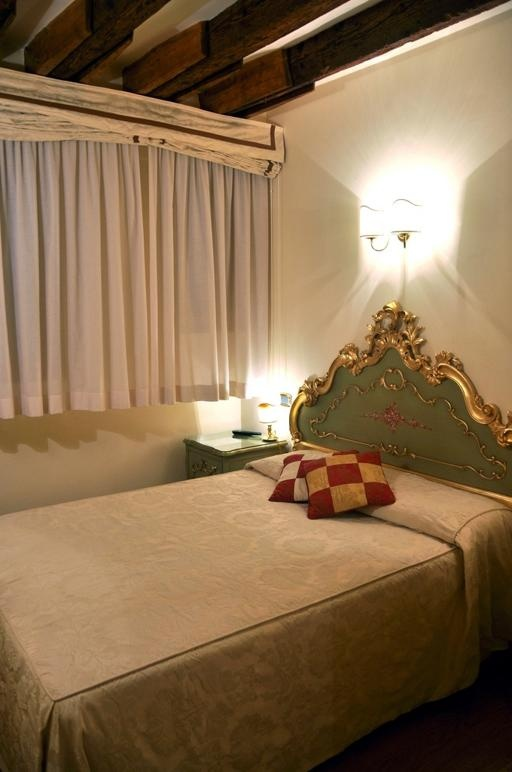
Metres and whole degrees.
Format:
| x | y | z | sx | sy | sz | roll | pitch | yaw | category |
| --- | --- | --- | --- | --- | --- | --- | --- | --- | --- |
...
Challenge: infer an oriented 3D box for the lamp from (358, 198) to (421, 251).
| x | y | z | sx | sy | sz | roll | pitch | yaw | category |
| --- | --- | --- | --- | --- | --- | --- | --- | --- | --- |
| 0.630 | -0.739 | 2.695 | 0.174 | 0.228 | 0.318 | -15 | 14 | -43 | lamp |

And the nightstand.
| x | y | z | sx | sy | sz | roll | pitch | yaw | category |
| --- | --- | --- | --- | --- | --- | --- | --- | --- | --- |
| -0.132 | 0.388 | 3.547 | 0.372 | 0.357 | 0.368 | -5 | 13 | -33 | nightstand |

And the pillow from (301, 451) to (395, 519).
| x | y | z | sx | sy | sz | roll | pitch | yaw | category |
| --- | --- | --- | --- | --- | --- | --- | --- | --- | --- |
| 0.385 | 0.419 | 2.480 | 0.388 | 0.114 | 0.396 | -10 | 27 | -10 | pillow |
